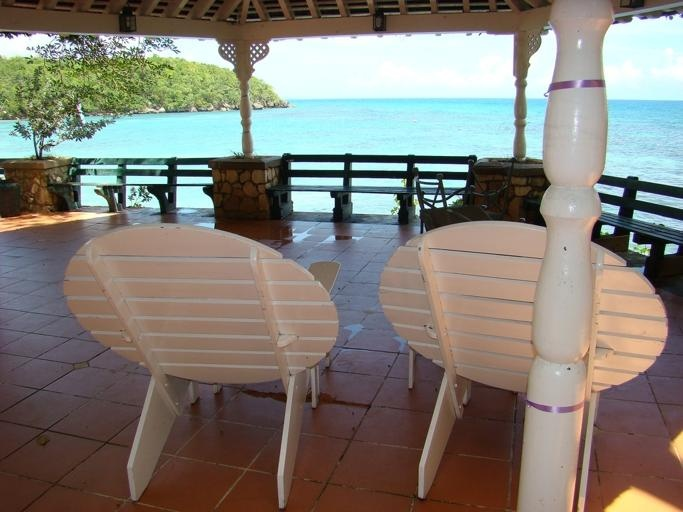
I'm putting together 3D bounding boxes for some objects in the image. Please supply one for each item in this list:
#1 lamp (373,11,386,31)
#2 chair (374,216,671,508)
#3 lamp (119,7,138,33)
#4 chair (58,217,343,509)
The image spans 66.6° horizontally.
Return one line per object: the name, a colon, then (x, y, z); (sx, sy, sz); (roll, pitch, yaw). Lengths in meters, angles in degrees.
lamp: (0.483, -2.948, 6.530); (0.163, 0.240, 0.127); (-5, 19, 1)
chair: (0.577, 0.290, 2.651); (1.548, 1.355, 1.147); (6, 22, 17)
lamp: (-2.662, -2.930, 6.434); (0.238, 0.324, 0.159); (-11, 20, -16)
chair: (-0.630, 0.277, 2.455); (1.208, 1.211, 1.265); (4, 23, 2)
